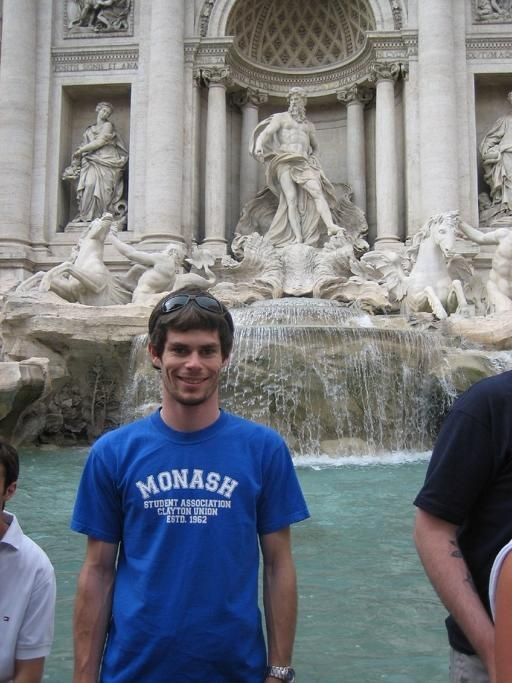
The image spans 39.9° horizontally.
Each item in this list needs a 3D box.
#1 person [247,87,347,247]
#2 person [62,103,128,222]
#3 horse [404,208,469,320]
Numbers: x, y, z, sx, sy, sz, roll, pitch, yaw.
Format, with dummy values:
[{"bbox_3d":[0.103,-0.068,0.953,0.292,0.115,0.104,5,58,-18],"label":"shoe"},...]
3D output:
[{"bbox_3d":[0.867,-3.857,15.621,1.579,3.535,0.702,-1,-1,6],"label":"person"},{"bbox_3d":[-3.829,-4.310,17.152,1.389,2.988,0.673,-1,-1,-7],"label":"person"},{"bbox_3d":[2.981,-1.218,11.751,0.964,1.869,2.410,-1,-2,11],"label":"horse"}]
